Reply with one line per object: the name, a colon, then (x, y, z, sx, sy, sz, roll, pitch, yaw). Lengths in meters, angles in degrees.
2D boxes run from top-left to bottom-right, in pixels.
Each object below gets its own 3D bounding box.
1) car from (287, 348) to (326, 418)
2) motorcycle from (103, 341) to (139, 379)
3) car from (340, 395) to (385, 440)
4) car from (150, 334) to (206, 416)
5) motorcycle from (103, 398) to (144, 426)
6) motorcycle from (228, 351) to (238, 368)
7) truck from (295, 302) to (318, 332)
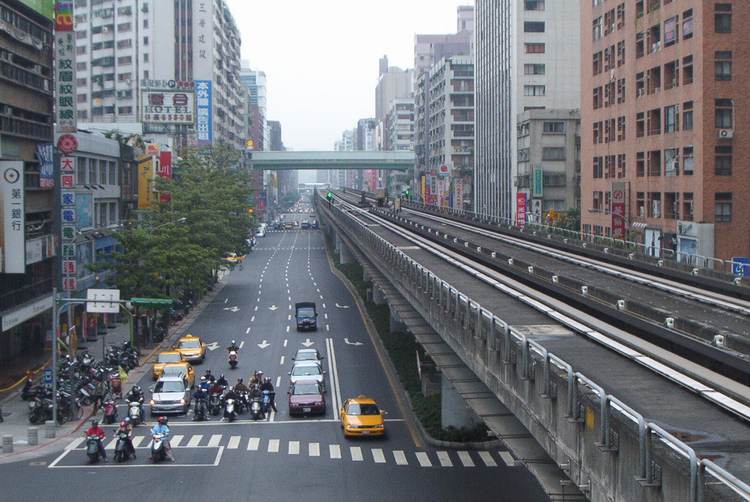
car: (-4.420, 8.556, 51.227, 2.710, 3.220, 9.567, -1, -1, -3)
motorcycle: (-18.267, 7.573, 57.224, 1.658, 1.769, 2.835, -6, -11, 17)
car: (-0.874, 9.757, 47.411, 2.465, 1.898, 5.556, 0, -1, -8)
car: (-12.887, 8.407, 50.939, 2.578, 2.690, 5.064, 0, 0, -7)
motorcycle: (-14.656, 9.510, 46.862, 2.335, 1.429, 1.194, 5, -10, -29)
motorcycle: (-10.300, 7.718, 57.657, 0.639, 1.171, 1.056, 0, 8, -9)
truck: (-6.034, 5.748, 69.476, 1.976, 2.188, 4.879, -1, -1, -4)
